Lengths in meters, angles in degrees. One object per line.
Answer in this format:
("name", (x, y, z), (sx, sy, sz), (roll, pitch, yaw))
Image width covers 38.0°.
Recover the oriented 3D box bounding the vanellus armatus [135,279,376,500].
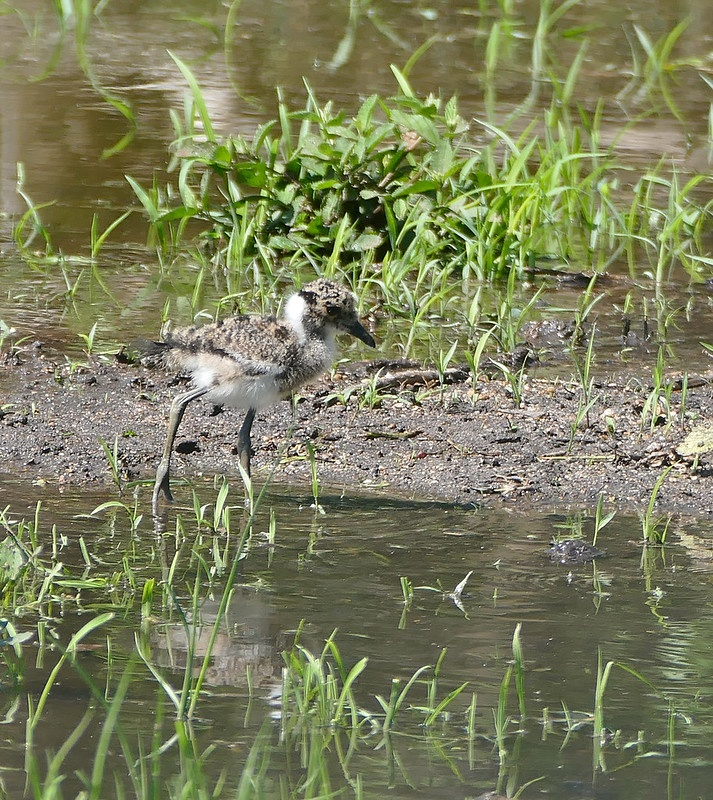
("vanellus armatus", (-0.499, -0.083, 4.407), (0.639, 0.808, 1.283), (6, 13, 17))
